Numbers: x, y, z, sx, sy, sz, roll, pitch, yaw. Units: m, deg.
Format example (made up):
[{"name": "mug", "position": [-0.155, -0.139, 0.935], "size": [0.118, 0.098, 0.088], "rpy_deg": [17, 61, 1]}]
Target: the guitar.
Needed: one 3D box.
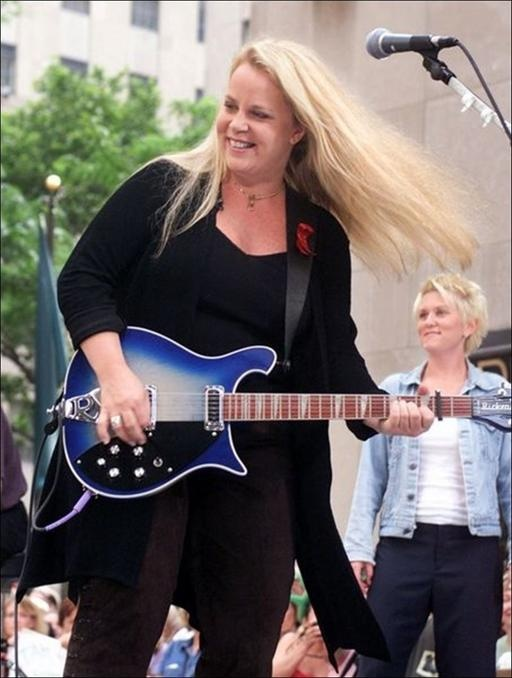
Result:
[{"name": "guitar", "position": [-0.095, 0.189, 3.152], "size": [0.843, 0.439, 0.218], "rpy_deg": [0, 2, -28]}]

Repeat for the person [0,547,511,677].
[{"name": "person", "position": [0.093, 0.822, 3.468], "size": [0.888, 0.306, 0.094], "rpy_deg": [0, -18, 18]}]

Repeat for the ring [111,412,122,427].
[{"name": "ring", "position": [-0.356, 0.212, 2.960], "size": [0.024, 0.029, 0.008], "rpy_deg": [2, -9, 9]}]
